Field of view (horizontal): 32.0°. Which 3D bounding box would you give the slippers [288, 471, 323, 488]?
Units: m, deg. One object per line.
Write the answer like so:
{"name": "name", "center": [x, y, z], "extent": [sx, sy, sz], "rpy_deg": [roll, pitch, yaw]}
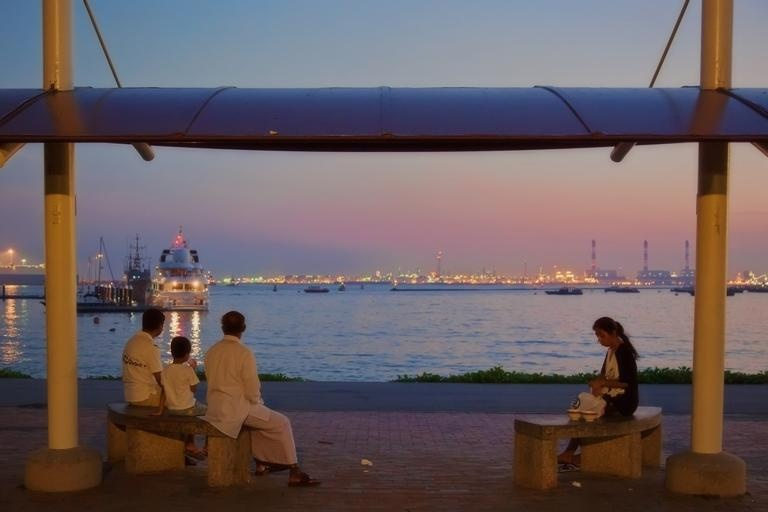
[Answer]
{"name": "slippers", "center": [-1.162, 3.299, 19.902], "extent": [0.445, 0.145, 0.215], "rpy_deg": [1, 1, 5]}

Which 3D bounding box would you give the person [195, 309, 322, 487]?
{"name": "person", "center": [-1.947, 2.089, 20.013], "extent": [1.458, 2.580, 0.627], "rpy_deg": [-1, 2, -7]}

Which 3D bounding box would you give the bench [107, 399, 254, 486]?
{"name": "bench", "center": [-3.287, 2.812, 20.561], "extent": [2.796, 0.827, 1.222], "rpy_deg": [5, 2, 38]}

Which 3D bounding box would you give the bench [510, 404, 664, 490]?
{"name": "bench", "center": [3.119, 2.881, 20.197], "extent": [2.331, 1.045, 0.784], "rpy_deg": [-1, 1, -20]}
